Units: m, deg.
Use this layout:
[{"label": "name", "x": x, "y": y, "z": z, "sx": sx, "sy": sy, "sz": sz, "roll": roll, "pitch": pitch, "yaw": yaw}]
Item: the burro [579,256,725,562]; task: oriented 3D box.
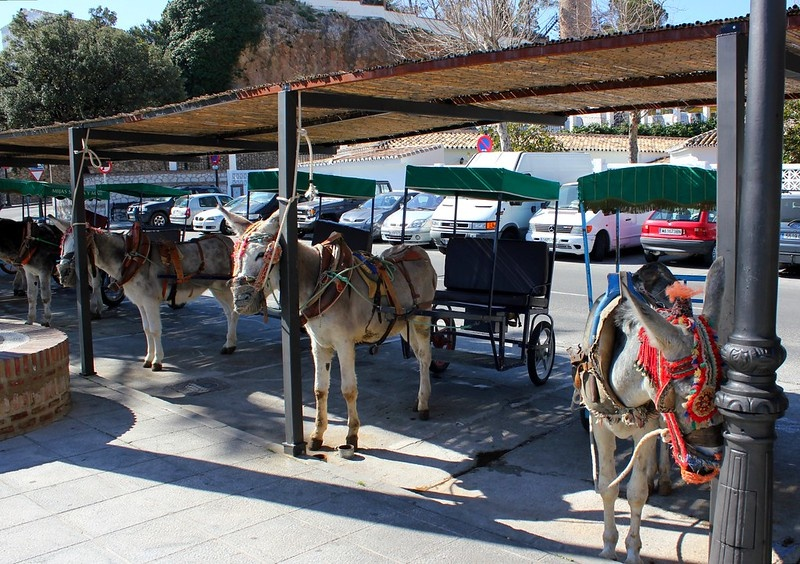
[{"label": "burro", "x": 1.953, "y": 1.147, "z": 5.784, "sx": 0.879, "sy": 2.503, "sz": 1.175, "roll": 1, "pitch": 11, "yaw": 2}]

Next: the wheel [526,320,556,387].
[{"label": "wheel", "x": 1.909, "y": 0.966, "z": 10.036, "sx": 0.230, "sy": 0.679, "sz": 0.687, "roll": 9, "pitch": 33, "yaw": 28}]

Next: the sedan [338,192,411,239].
[{"label": "sedan", "x": -1.205, "y": -2.237, "z": 25.461, "sx": 1.684, "sy": 1.517, "sz": 3.269, "roll": 5, "pitch": 10, "yaw": 36}]

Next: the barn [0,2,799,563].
[{"label": "barn", "x": 0.233, "y": -0.694, "z": 9.491, "sx": 9.569, "sy": 4.403, "sz": 4.881, "roll": 9, "pitch": 13, "yaw": 38}]

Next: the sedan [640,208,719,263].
[{"label": "sedan", "x": 7.850, "y": -1.325, "z": 20.101, "sx": 1.732, "sy": 1.435, "sz": 3.330, "roll": 4, "pitch": 6, "yaw": 35}]

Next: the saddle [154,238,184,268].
[{"label": "saddle", "x": -3.511, "y": -0.454, "z": 11.276, "sx": 0.301, "sy": 0.381, "sz": 0.162, "roll": 2, "pitch": -11, "yaw": -23}]

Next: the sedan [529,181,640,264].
[{"label": "sedan", "x": 5.402, "y": -1.789, "z": 21.201, "sx": 2.306, "sy": 2.145, "sz": 4.516, "roll": 4, "pitch": 6, "yaw": 45}]

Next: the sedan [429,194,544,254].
[{"label": "sedan", "x": 2.369, "y": -1.821, "z": 21.523, "sx": 2.024, "sy": 1.472, "sz": 2.892, "roll": 5, "pitch": 4, "yaw": 42}]

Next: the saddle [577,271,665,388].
[{"label": "saddle", "x": 1.957, "y": 0.176, "z": 6.332, "sx": 0.768, "sy": 1.045, "sz": 0.429, "roll": 6, "pitch": -36, "yaw": 15}]
